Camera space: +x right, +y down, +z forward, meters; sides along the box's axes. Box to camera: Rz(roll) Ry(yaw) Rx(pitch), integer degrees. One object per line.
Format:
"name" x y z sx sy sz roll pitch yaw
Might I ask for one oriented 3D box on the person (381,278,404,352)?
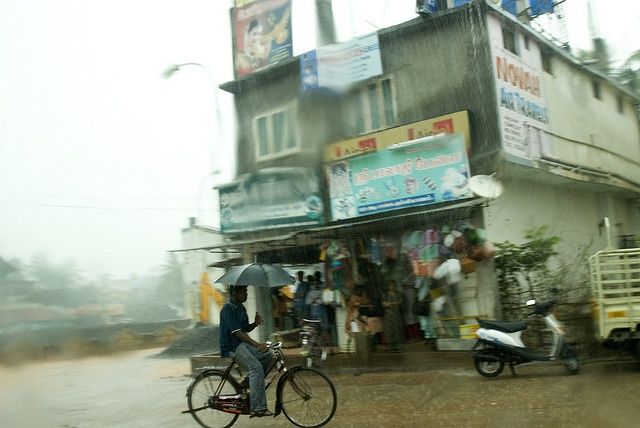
"person" 1.595 2.247 14.097 0.320 1.410 0.579 -6 1 -39

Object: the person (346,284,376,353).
"person" 0.887 2.378 14.247 0.596 1.424 0.995 -5 1 -5

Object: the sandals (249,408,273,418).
"sandals" -0.927 3.099 9.841 0.372 0.135 0.143 -5 -6 1

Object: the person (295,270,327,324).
"person" -0.162 2.036 14.959 0.552 1.132 0.888 -5 1 -33

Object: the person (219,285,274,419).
"person" -1.161 2.130 9.935 0.715 2.005 0.382 -5 1 14
